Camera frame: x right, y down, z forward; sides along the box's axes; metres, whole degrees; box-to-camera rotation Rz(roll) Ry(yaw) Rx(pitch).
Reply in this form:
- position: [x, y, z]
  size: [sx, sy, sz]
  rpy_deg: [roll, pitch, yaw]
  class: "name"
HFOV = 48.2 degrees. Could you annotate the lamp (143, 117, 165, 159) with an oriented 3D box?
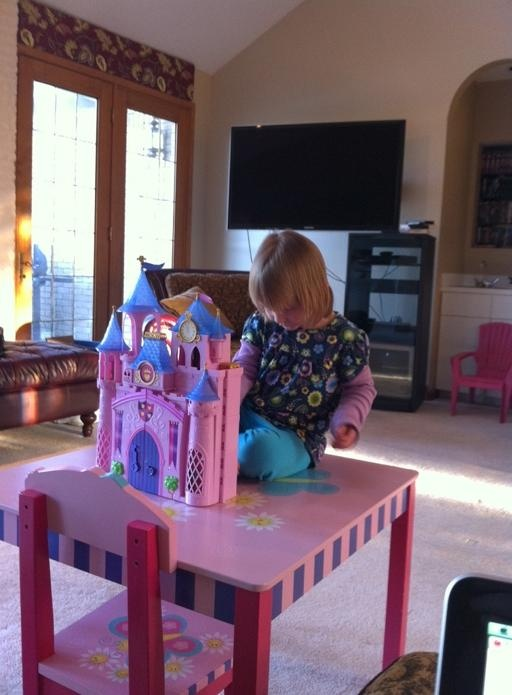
- position: [-0.839, -1.734, 4.769]
  size: [0.049, 0.317, 0.204]
  rpy_deg: [5, 6, 27]
  class: "lamp"
